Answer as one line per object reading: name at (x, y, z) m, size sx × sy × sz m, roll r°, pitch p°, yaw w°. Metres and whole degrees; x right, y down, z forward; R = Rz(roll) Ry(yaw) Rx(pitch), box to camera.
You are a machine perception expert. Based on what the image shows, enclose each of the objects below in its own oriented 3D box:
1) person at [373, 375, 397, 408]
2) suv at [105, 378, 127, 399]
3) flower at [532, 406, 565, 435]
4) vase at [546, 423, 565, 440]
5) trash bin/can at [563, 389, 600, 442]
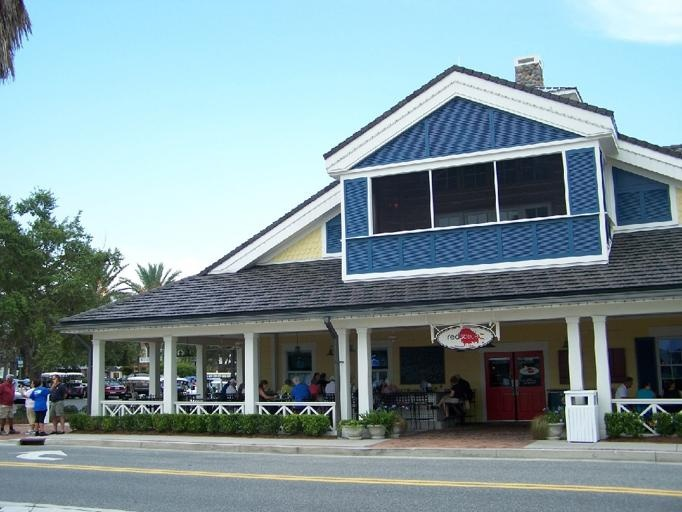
person at (1.332, 4.275, 23.896) m, size 0.824 × 0.834 × 0.875 m, roll -3°, pitch -9°, yaw 19°
suv at (-15.685, 9.166, 52.864) m, size 1.135 × 0.823 × 2.482 m, roll 1°, pitch 0°, yaw -21°
flower at (5.464, 4.326, 19.906) m, size 0.822 × 0.672 × 0.796 m, roll 3°, pitch -8°, yaw -19°
vase at (5.540, 4.481, 19.682) m, size 0.431 × 0.310 × 0.428 m, roll -3°, pitch -2°, yaw 45°
trash bin/can at (5.989, 3.950, 18.999) m, size 0.765 × 0.830 × 0.671 m, roll -5°, pitch 2°, yaw 16°
